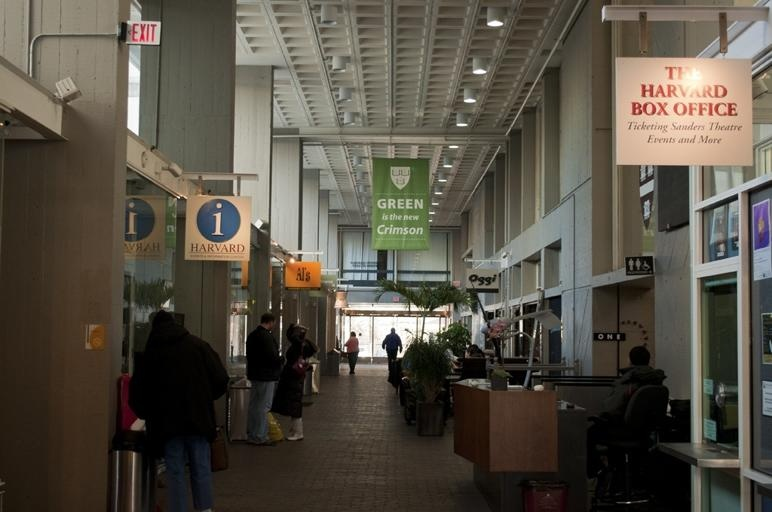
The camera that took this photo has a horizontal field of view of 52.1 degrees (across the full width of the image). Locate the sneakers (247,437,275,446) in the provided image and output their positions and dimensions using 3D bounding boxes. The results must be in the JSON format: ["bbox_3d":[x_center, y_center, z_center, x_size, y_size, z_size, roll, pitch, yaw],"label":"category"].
[{"bbox_3d":[-1.748,2.572,10.990,0.225,0.077,0.182,4,-7,-16],"label":"sneakers"}]

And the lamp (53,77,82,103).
[{"bbox_3d":[-3.024,-1.567,7.479,0.186,0.275,0.117,-17,-16,-27],"label":"lamp"}]

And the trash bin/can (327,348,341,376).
[{"bbox_3d":[-1.624,3.326,25.059,0.516,1.166,0.808,0,-4,0],"label":"trash bin/can"}]

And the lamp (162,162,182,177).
[{"bbox_3d":[-2.762,-1.153,10.241,0.174,0.052,0.173,6,-23,3],"label":"lamp"}]

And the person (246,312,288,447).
[{"bbox_3d":[-1.710,1.706,11.037,0.512,1.814,0.490,2,-9,-10],"label":"person"}]

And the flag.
[{"bbox_3d":[0.334,-1.203,17.666,1.245,2.103,0.559,2,-9,-8],"label":"flag"}]

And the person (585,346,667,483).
[{"bbox_3d":[2.626,1.786,8.591,0.678,1.542,0.984,18,-24,-9],"label":"person"}]

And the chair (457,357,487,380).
[{"bbox_3d":[1.561,1.968,14.151,0.464,0.511,0.362,1,3,3],"label":"chair"}]

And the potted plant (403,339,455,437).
[{"bbox_3d":[0.657,2.067,12.544,0.754,1.490,0.912,1,-9,1],"label":"potted plant"}]
